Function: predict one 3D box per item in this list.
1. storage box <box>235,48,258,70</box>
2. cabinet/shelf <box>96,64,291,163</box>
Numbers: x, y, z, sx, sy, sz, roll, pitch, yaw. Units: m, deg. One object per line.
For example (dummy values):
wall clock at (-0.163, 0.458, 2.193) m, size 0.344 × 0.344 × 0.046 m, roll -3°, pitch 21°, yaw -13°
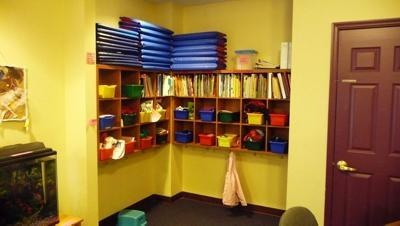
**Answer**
storage box at (0.903, -1.020, 5.653) m, size 0.524 × 0.435 × 0.416 m, roll 4°, pitch 6°, yaw 32°
cabinet/shelf at (-0.109, -0.061, 5.398) m, size 3.752 × 1.561 × 1.815 m, roll 1°, pitch 3°, yaw 17°
